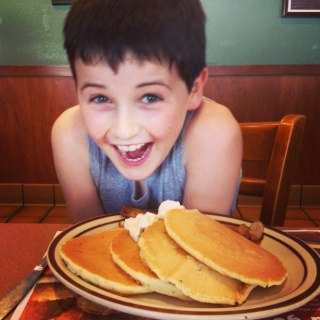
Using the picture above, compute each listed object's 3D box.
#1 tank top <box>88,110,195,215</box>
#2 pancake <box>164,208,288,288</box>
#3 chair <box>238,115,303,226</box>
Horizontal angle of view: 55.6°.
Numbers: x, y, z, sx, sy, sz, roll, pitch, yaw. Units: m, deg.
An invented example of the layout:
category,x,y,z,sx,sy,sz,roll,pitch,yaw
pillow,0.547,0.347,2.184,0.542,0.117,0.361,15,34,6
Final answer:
category,x,y,z,sx,sy,sz,roll,pitch,yaw
tank top,-0.055,0.025,1.173,0.332,0.408,0.284,2,8,25
pancake,0.119,0.116,0.555,0.178,0.114,0.162,5,8,23
chair,0.351,0.027,1.061,0.149,0.367,0.252,-4,9,-35
